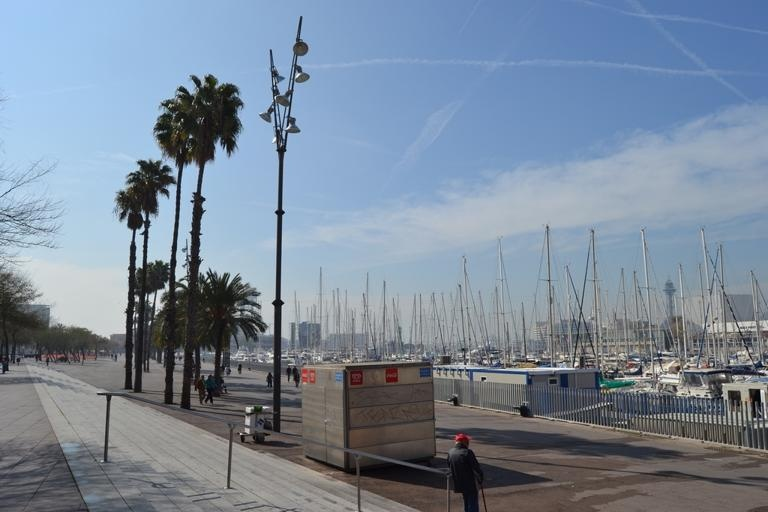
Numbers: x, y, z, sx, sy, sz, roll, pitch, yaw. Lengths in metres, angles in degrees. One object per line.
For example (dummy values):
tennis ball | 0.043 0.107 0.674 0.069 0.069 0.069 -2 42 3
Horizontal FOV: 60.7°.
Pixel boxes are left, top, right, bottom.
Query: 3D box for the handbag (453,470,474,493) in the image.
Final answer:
handbag | 2.620 7.356 21.609 0.539 0.820 0.387 -14 -4 36
